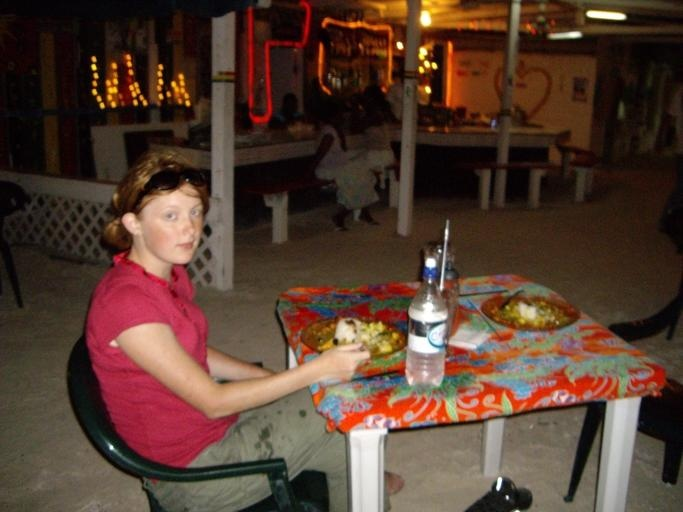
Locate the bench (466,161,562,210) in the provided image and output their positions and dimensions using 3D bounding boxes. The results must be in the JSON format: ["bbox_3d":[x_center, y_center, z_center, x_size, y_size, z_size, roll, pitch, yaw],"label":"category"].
[{"bbox_3d":[3.295,-1.413,10.605,1.541,0.849,1.863,5,14,25],"label":"bench"}]

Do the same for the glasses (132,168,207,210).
[{"bbox_3d":[-0.663,-0.269,2.146,0.103,0.157,0.304,11,18,41],"label":"glasses"}]

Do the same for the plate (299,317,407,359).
[{"bbox_3d":[0.064,0.347,2.322,0.295,0.061,0.209,2,27,-13],"label":"plate"}]
